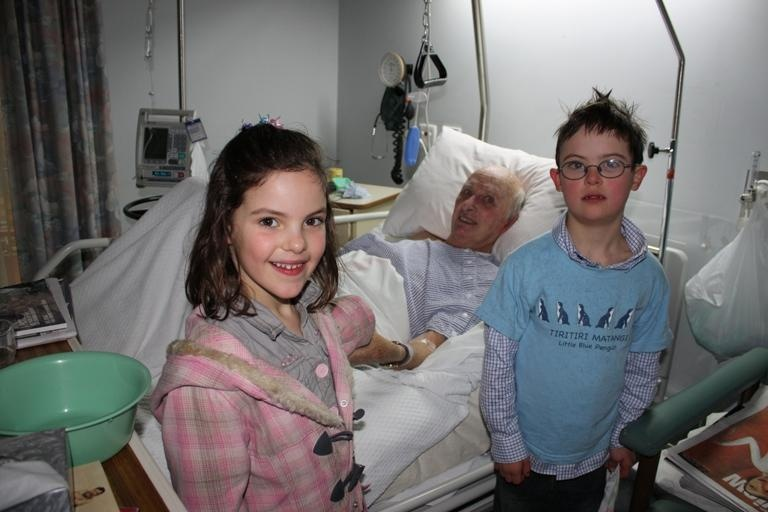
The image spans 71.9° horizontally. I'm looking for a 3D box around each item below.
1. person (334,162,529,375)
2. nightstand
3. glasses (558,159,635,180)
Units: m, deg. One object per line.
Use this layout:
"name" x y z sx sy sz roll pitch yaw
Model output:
"person" 0.258 0.033 2.243 0.883 0.287 0.628 -26 33 -38
"nightstand" -0.089 -0.262 3.345 0.355 0.557 0.474 8 18 27
"glasses" 0.595 -0.241 1.492 0.181 0.062 0.045 3 17 13
